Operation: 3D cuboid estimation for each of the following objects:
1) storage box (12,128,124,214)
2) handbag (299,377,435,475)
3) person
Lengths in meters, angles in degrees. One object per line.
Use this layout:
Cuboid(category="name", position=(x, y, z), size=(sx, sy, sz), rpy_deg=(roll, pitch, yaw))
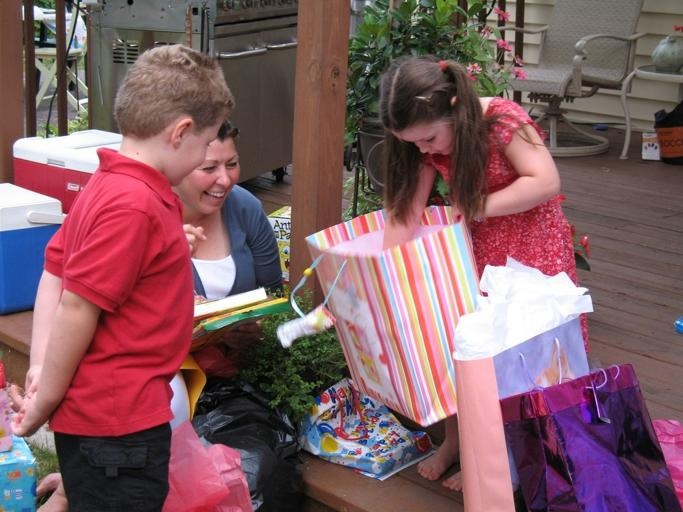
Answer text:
Cuboid(category="storage box", position=(-1.242, -0.376, 2.602), size=(0.329, 0.377, 0.483), rpy_deg=(13, 18, 30))
Cuboid(category="handbag", position=(0.083, 0.633, 2.122), size=(0.376, 0.211, 0.460), rpy_deg=(-13, 11, -43))
Cuboid(category="person", position=(-0.122, 0.031, 1.982), size=(1.806, 1.379, 0.992), rpy_deg=(-7, 17, -31))
